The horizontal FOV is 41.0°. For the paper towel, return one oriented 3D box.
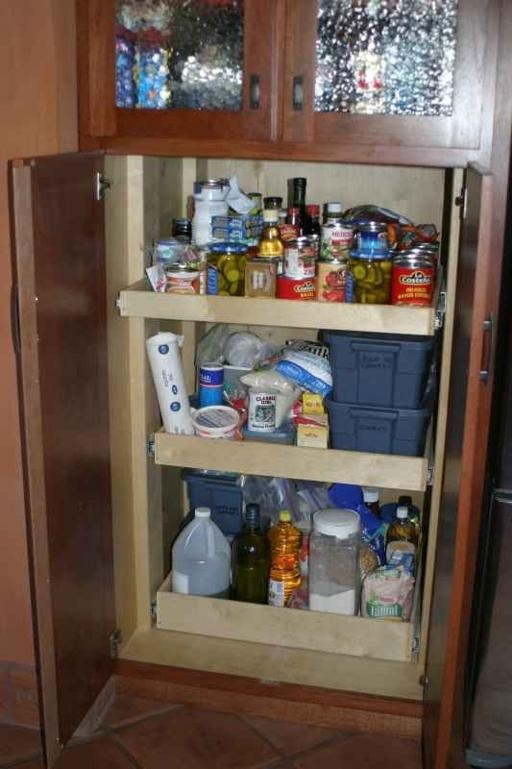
[{"bbox_3d":[-0.192,0.003,1.561,0.098,0.243,0.055,-4,19,-10],"label":"paper towel"}]

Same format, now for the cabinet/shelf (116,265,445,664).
[{"bbox_3d":[-0.053,0.143,1.881,0.878,1.050,0.793,3,21,10],"label":"cabinet/shelf"}]

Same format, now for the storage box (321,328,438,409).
[{"bbox_3d":[0.265,-0.033,1.446,0.205,0.139,0.158,3,16,12],"label":"storage box"}]

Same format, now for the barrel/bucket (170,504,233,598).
[{"bbox_3d":[-0.118,0.401,1.841,0.187,0.321,0.208,0,8,-1],"label":"barrel/bucket"}]

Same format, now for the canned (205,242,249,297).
[{"bbox_3d":[-0.058,-0.243,1.458,0.079,0.118,0.075,8,32,10],"label":"canned"}]

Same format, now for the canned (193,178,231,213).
[{"bbox_3d":[-0.092,-0.417,1.528,0.070,0.083,0.073,6,35,4],"label":"canned"}]

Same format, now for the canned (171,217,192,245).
[{"bbox_3d":[-0.159,-0.355,1.577,0.059,0.065,0.060,-1,25,-5],"label":"canned"}]

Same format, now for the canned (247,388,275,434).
[{"bbox_3d":[0.017,0.064,1.638,0.084,0.095,0.087,1,17,-3],"label":"canned"}]
